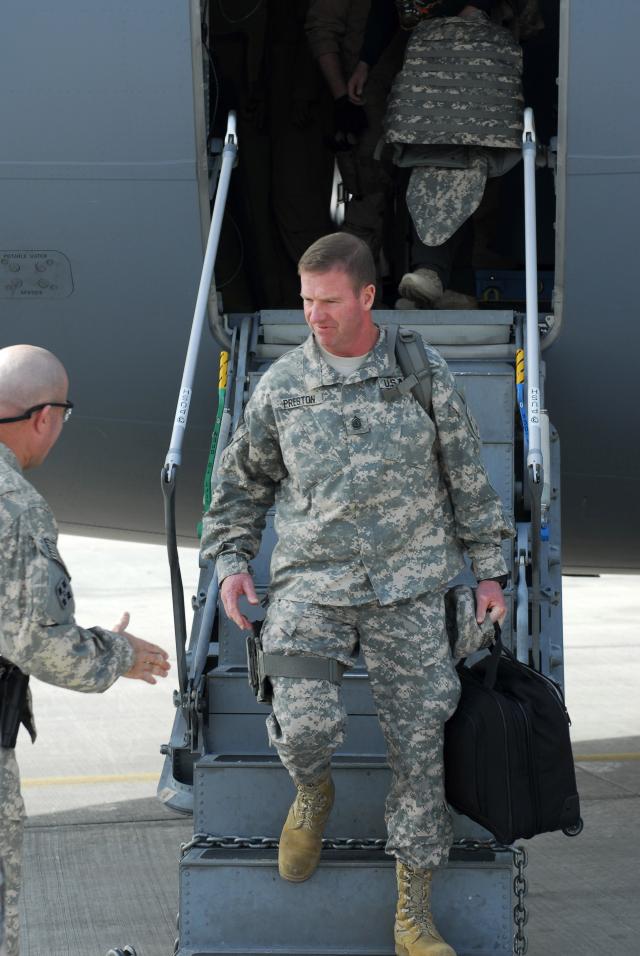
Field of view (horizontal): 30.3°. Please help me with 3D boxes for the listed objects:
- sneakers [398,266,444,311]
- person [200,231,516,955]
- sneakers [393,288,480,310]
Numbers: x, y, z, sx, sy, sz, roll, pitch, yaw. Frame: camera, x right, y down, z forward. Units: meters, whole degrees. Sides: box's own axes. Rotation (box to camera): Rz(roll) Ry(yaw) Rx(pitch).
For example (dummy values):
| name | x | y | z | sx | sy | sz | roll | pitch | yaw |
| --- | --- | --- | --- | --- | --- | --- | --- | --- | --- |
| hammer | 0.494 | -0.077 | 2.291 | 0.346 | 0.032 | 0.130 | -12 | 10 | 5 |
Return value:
| name | x | y | z | sx | sy | sz | roll | pitch | yaw |
| --- | --- | --- | --- | --- | --- | --- | --- | --- | --- |
| sneakers | 0.364 | -0.671 | 4.258 | 0.135 | 0.071 | 0.163 | 10 | -17 | -1 |
| person | 0.072 | 0.261 | 2.773 | 0.737 | 1.653 | 0.342 | -3 | -5 | 7 |
| sneakers | 0.451 | -0.656 | 4.455 | 0.248 | 0.061 | 0.138 | 2 | 2 | -12 |
